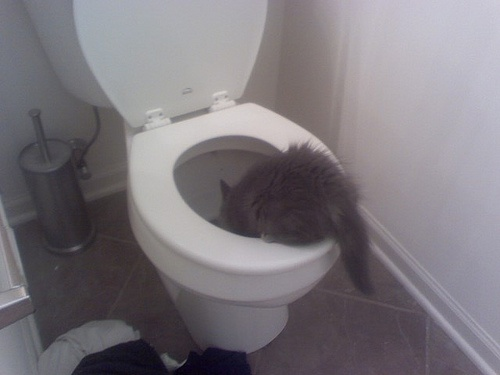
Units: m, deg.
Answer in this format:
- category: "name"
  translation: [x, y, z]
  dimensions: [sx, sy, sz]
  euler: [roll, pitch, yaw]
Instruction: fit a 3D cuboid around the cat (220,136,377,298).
- category: "cat"
  translation: [0.112, 0.082, 0.967]
  dimensions: [0.355, 0.303, 0.211]
  euler: [-4, 38, -5]
